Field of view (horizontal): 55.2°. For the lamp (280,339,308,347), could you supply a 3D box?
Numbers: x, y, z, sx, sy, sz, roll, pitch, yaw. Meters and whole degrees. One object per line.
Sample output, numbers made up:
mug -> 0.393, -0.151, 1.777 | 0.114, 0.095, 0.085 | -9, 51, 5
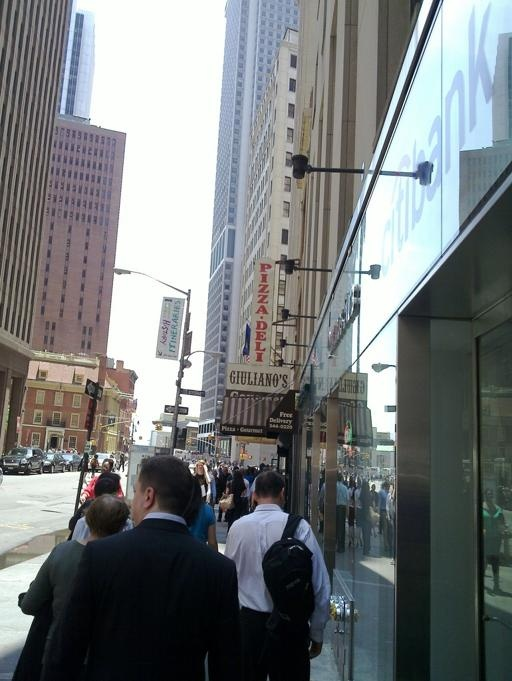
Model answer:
lamp -> 1.530, 0.104, 19.444 | 1.201, 0.506, 0.314 | 2, -2, 11

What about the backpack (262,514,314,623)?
backpack -> 0.224, 1.570, 3.222 | 0.253, 0.603, 0.545 | -4, -24, -2
